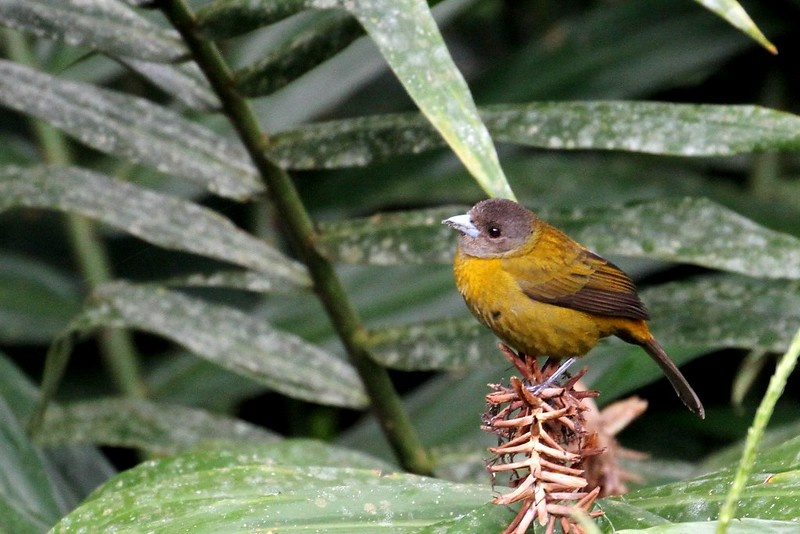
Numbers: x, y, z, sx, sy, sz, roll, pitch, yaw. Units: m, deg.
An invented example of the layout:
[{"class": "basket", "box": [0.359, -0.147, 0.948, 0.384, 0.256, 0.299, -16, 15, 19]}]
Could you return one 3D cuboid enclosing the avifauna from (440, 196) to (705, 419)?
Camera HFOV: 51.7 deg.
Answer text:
[{"class": "avifauna", "box": [0.630, 0.143, 3.037, 1.055, 0.704, 0.382, 2, 4, -18]}]
